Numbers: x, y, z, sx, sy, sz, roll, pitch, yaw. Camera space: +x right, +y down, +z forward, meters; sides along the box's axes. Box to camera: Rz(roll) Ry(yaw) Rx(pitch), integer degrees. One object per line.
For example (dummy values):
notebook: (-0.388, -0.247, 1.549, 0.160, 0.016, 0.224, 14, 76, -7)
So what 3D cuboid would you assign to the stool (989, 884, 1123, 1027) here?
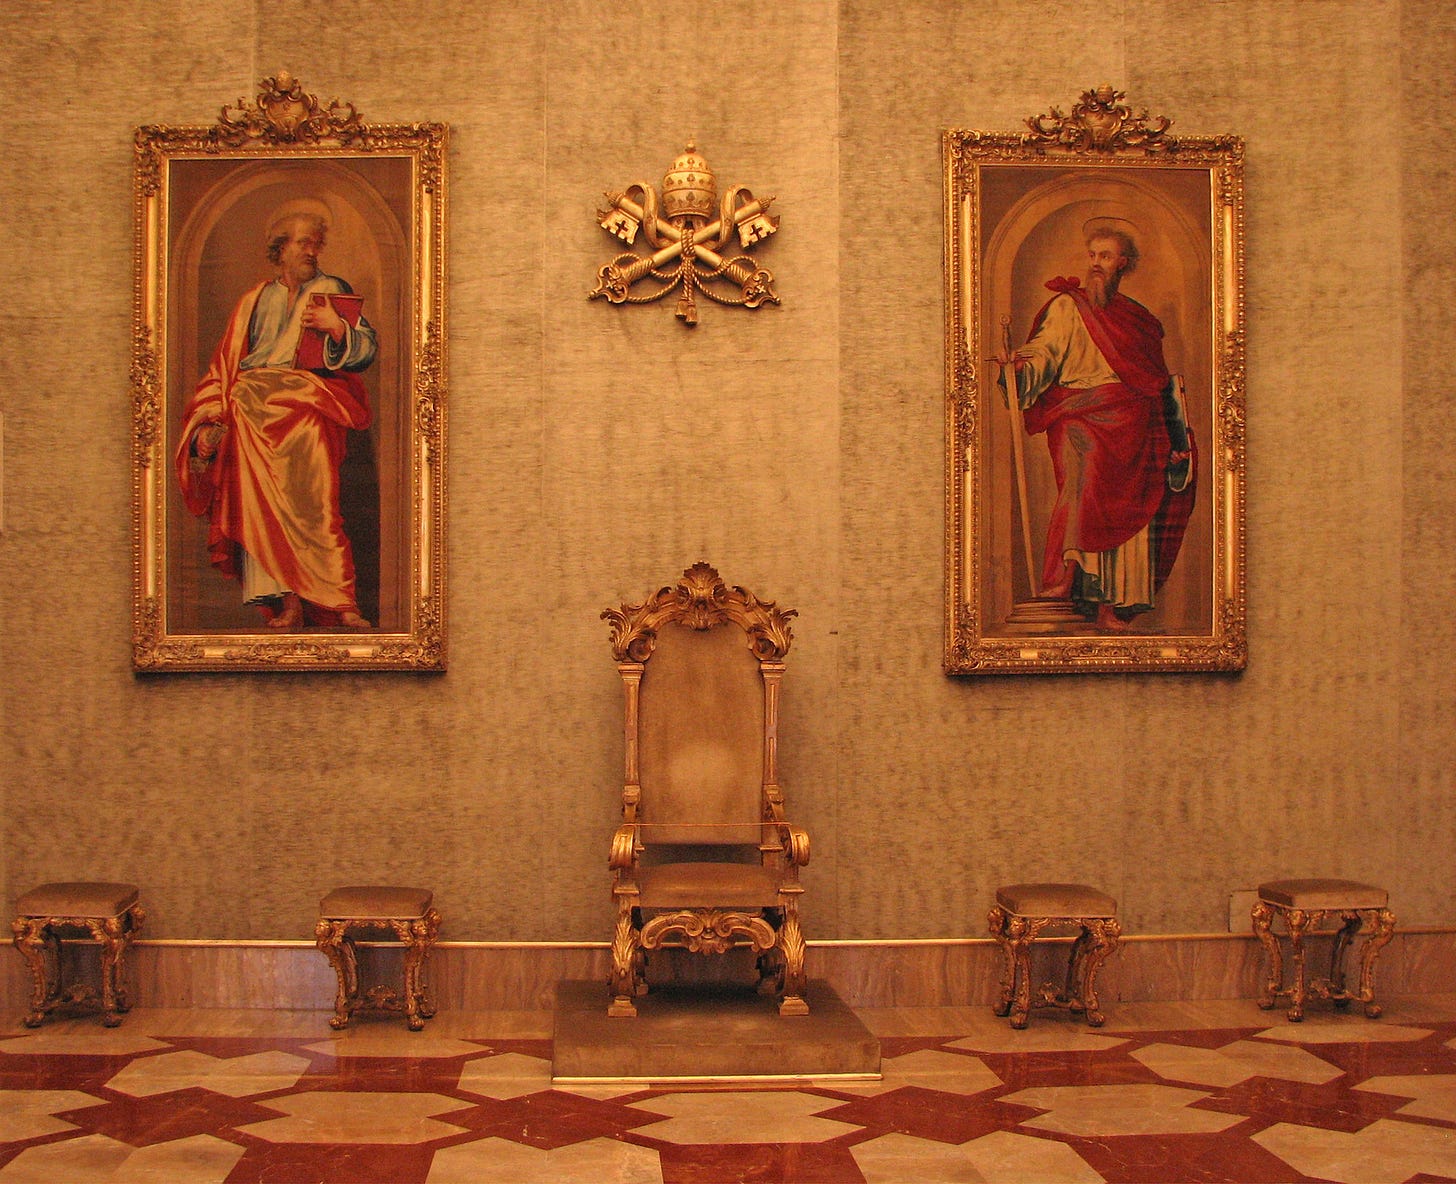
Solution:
stool: (1.616, 1.775, 11.777, 0.606, 0.647, 0.531, -1, -2, 6)

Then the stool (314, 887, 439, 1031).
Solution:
stool: (-1.742, 1.806, 11.720, 0.619, 0.615, 0.635, -4, -6, 8)

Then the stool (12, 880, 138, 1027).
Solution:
stool: (-3.289, 1.776, 11.749, 0.706, 0.759, 0.649, 1, -7, -8)

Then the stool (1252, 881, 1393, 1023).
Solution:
stool: (2.997, 1.758, 11.910, 0.733, 0.653, 0.560, -1, -2, 4)

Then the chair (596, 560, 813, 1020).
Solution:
chair: (-0.124, 0.921, 11.552, 0.993, 2.135, 0.945, -1, -2, 1)
